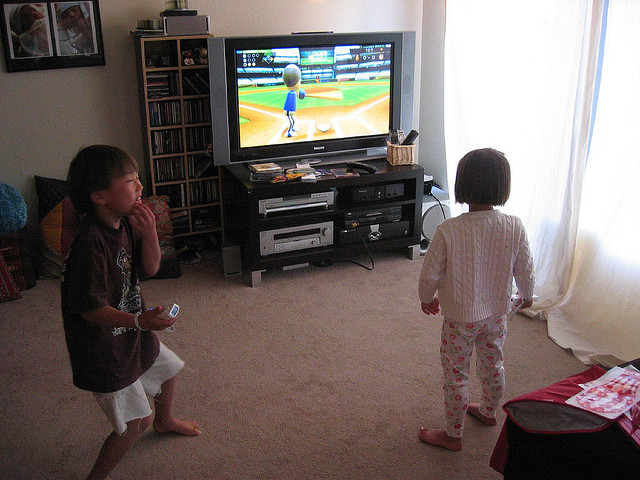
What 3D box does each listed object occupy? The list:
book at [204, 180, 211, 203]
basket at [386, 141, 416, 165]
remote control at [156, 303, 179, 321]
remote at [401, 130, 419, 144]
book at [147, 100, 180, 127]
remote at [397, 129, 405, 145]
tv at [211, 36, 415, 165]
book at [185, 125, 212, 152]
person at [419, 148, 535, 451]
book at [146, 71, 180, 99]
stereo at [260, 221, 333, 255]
[{"bbox_3d":[-0.943,-0.412,4.177,0.055,0.188,0.021,-6,21,-13],"label":"book"},{"bbox_3d":[0.655,-0.695,3.968,0.143,0.113,0.211,-1,22,-2],"label":"basket"},{"bbox_3d":[-0.592,0.283,1.960,0.069,0.037,0.098,-1,16,1],"label":"remote control"},{"bbox_3d":[0.731,-0.864,4.145,0.065,0.053,0.228,-11,28,47],"label":"remote"},{"bbox_3d":[-1.236,-1.002,3.884,0.161,0.157,0.085,-13,21,-26],"label":"book"},{"bbox_3d":[0.663,-0.858,4.118,0.063,0.118,0.030,-3,-4,-6],"label":"remote"},{"bbox_3d":[-0.043,-1.113,3.979,1.640,0.953,0.148,-8,21,-16],"label":"tv"},{"bbox_3d":[-0.994,-0.834,4.027,0.181,0.182,0.058,-5,18,-23],"label":"book"},{"bbox_3d":[0.720,0.297,2.329,0.530,1.420,0.253,-12,23,-26],"label":"person"},{"bbox_3d":[-1.226,-1.209,3.833,0.179,0.173,0.090,-8,22,-25],"label":"book"},{"bbox_3d":[-0.203,-0.014,3.821,0.578,0.236,0.411,-4,21,-20],"label":"stereo"}]
